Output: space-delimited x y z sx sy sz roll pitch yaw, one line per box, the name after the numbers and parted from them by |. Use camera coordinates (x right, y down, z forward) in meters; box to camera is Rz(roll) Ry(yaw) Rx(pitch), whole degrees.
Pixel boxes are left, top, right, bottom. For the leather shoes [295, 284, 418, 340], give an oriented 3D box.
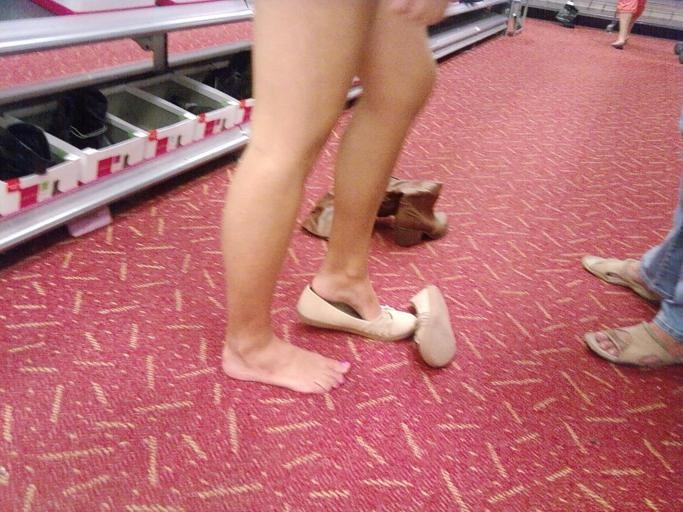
0.094 0.201 1.760 0.467 0.137 0.155 5 33 -17 | leather shoes

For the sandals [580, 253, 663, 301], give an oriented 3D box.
1.182 0.082 2.212 0.379 0.132 0.102 19 78 19 | sandals

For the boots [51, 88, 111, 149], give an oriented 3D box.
-1.115 -0.588 2.146 0.247 0.197 0.254 -11 42 -18 | boots

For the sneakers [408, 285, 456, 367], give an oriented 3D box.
0.282 0.245 1.736 0.148 0.093 0.256 1 58 -17 | sneakers
